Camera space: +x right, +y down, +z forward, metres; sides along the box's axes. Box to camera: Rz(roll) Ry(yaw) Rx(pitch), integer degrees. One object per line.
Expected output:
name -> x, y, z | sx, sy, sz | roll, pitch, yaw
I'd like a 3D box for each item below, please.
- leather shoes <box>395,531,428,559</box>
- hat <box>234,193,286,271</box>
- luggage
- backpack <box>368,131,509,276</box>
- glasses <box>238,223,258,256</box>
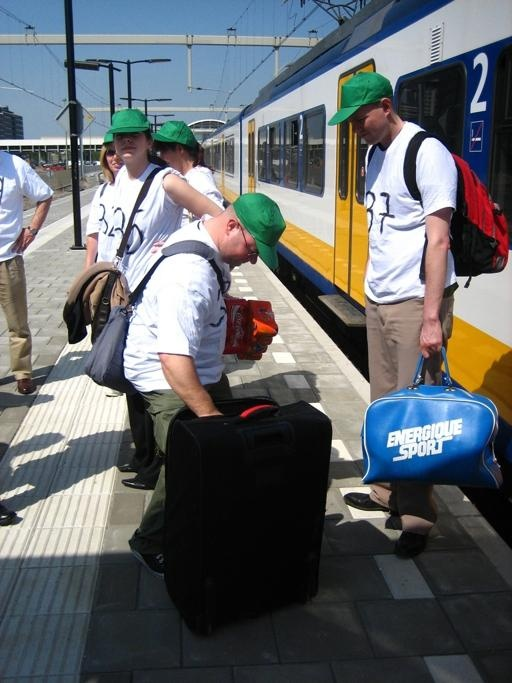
leather shoes -> 0.690, 0.909, 2.189 | 0.081, 0.064, 0.161 | 2, 1, 37
hat -> 0.006, -0.368, 1.579 | 0.168, 0.273, 0.172 | 0, 1, -3
luggage -> -0.018, 0.587, 1.572 | 0.543, 0.775, 0.421 | 0, 1, -11
backpack -> 0.910, -0.578, 2.168 | 0.616, 0.649, 0.413 | -8, 16, -5
glasses -> -0.018, -0.336, 1.603 | 0.020, 0.074, 0.072 | -29, -25, 33
